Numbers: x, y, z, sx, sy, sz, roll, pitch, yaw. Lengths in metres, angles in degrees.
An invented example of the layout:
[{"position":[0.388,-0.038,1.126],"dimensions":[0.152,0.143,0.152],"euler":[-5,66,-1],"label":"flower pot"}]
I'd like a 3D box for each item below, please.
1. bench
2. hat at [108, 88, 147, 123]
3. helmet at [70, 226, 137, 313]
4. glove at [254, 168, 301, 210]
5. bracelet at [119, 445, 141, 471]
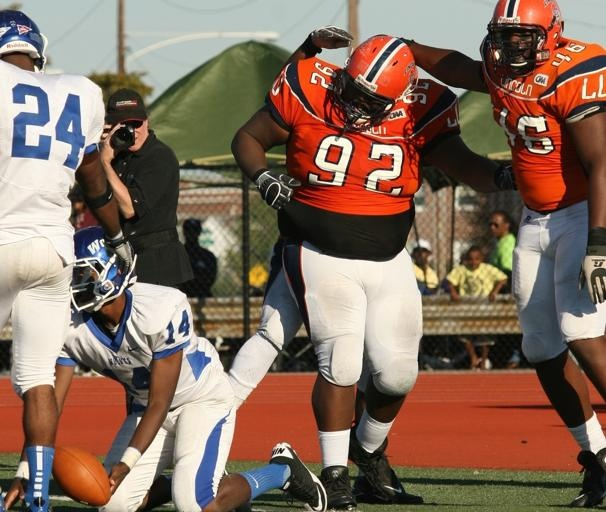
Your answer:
[{"position":[1.256,0.706,11.470],"dimensions":[4.396,0.640,0.906],"euler":[1,2,0],"label":"bench"},{"position":[-1.019,-0.875,6.412],"dimensions":[0.241,0.180,0.341],"euler":[-4,19,-5],"label":"hat"},{"position":[-0.927,0.050,5.213],"dimensions":[0.406,0.326,0.314],"euler":[-11,2,-33],"label":"helmet"},{"position":[-0.134,-0.357,5.220],"dimensions":[0.184,0.091,0.208],"euler":[13,48,-14],"label":"glove"},{"position":[-0.719,0.841,4.665],"dimensions":[0.072,0.092,0.089],"euler":[7,9,8],"label":"bracelet"}]
